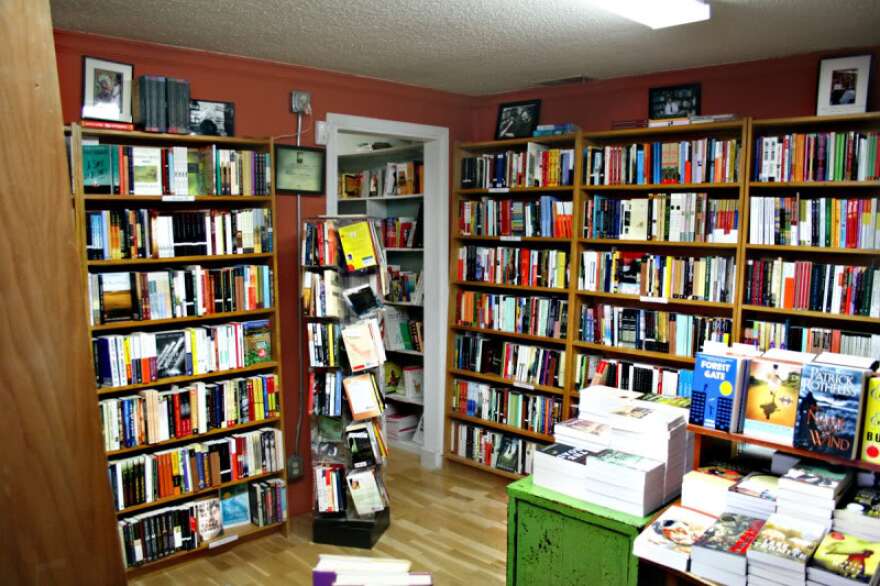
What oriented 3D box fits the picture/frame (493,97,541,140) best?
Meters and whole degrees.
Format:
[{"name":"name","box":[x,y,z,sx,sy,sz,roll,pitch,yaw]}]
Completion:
[{"name":"picture/frame","box":[0.615,-1.351,5.177,0.467,0.361,0.040,6,-3,39]}]
